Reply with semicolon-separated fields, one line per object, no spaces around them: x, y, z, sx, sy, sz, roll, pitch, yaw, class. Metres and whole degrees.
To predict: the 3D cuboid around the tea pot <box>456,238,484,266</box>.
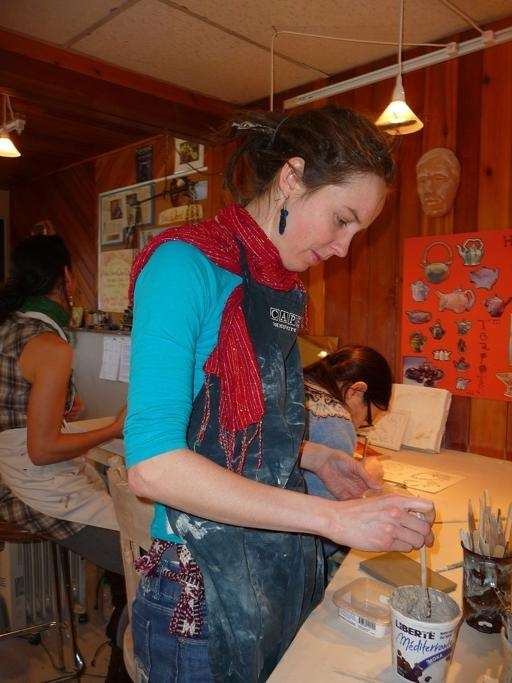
0.760;-0.304;2.068;0.087;0.110;0.119;-1;2;-44;tea pot
